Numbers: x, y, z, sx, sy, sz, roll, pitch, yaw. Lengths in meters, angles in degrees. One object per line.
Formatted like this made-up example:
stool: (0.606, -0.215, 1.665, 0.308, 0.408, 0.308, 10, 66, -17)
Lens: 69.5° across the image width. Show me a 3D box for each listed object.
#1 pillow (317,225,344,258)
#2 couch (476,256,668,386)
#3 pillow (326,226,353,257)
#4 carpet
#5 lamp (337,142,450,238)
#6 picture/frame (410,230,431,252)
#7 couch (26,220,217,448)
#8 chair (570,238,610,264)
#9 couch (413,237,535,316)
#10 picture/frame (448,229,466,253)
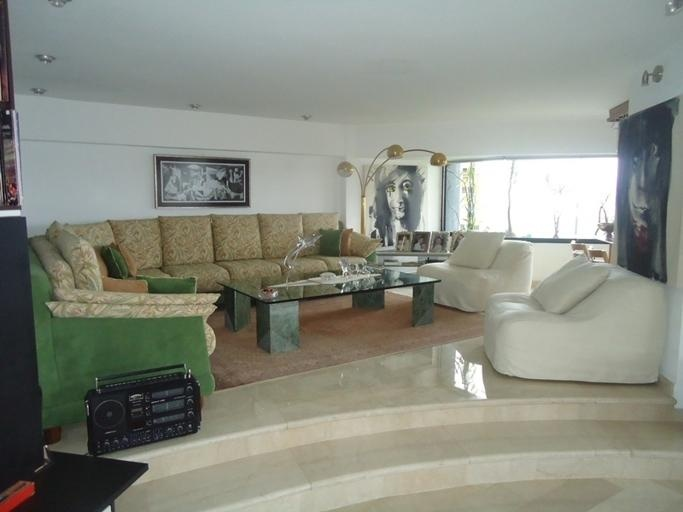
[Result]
pillow: (-0.176, -0.192, 6.940, 0.471, 0.475, 0.187, -1, -13, 21)
couch: (1.841, 0.439, 4.155, 1.201, 0.806, 1.277, 1, 10, 5)
pillow: (-0.036, -0.190, 6.955, 0.428, 0.404, 0.125, 2, -8, -2)
carpet: (-0.044, 0.717, 4.907, 2.836, 0.060, 1.709, -5, 11, -28)
lamp: (0.830, -1.153, 8.096, 1.781, 2.515, 1.235, -2, 9, -7)
picture/frame: (1.154, -0.209, 7.258, 0.295, 0.327, 0.043, 3, -6, 11)
couch: (-1.652, 0.445, 3.707, 1.116, 1.119, 1.500, -1, 5, -28)
chair: (3.495, -0.080, 6.863, 0.277, 0.371, 0.309, -11, 16, -20)
couch: (1.609, 0.151, 5.931, 1.387, 0.818, 1.373, 0, 8, 17)
picture/frame: (1.672, -0.231, 7.173, 0.100, 0.315, 0.245, 18, -12, -24)
